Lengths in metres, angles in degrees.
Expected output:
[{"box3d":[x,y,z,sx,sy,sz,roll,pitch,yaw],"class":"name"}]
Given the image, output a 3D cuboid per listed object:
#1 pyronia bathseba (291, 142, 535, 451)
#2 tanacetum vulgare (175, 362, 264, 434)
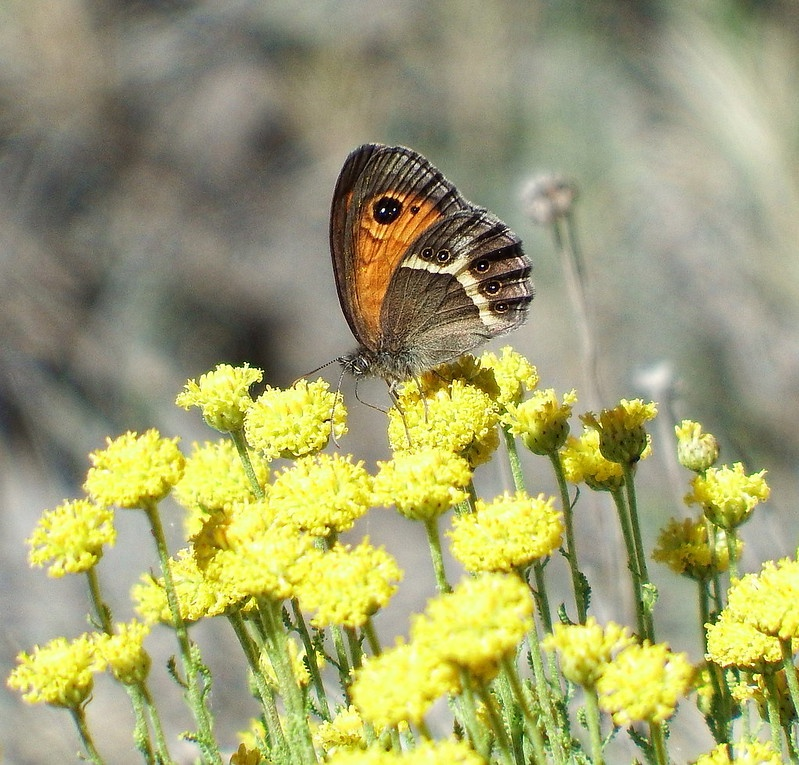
[{"box3d":[-0.002,-0.078,2.005,0.358,0.456,0.454,-4,82,-4],"class":"pyronia bathseba"},{"box3d":[-0.231,0.012,1.564,0.072,0.087,0.095,59,41,-8],"class":"tanacetum vulgare"}]
